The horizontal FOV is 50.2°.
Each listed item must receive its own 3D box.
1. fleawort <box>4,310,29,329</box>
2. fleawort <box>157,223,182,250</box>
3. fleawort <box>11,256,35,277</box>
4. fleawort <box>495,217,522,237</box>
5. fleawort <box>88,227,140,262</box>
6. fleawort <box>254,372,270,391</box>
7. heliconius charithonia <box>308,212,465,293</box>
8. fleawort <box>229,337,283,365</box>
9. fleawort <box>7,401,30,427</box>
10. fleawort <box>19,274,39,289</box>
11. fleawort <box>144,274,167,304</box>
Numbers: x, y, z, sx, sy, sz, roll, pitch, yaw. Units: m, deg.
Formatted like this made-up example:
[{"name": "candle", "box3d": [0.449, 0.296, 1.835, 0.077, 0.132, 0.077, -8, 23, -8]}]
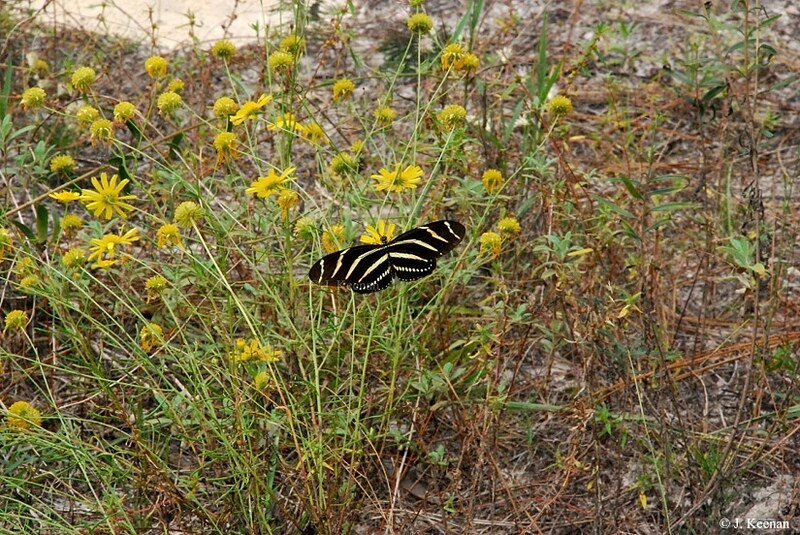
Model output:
[{"name": "fleawort", "box3d": [-1.741, 0.242, 3.895, 0.070, 0.065, 0.071, -22, 8, 39]}, {"name": "fleawort", "box3d": [-0.977, -0.129, 3.636, 0.088, 0.099, 0.180, -4, 15, -13]}, {"name": "fleawort", "box3d": [-1.664, -0.001, 3.801, 0.072, 0.078, 0.076, -2, -17, -7]}, {"name": "fleawort", "box3d": [0.483, -0.166, 3.818, 0.090, 0.078, 0.086, -8, 0, -43]}, {"name": "fleawort", "box3d": [-1.303, -0.101, 3.909, 0.125, 0.057, 0.131, -24, 21, 9]}, {"name": "fleawort", "box3d": [-0.580, 0.478, 3.612, 0.056, 0.077, 0.121, -4, 15, -13]}, {"name": "heliconius charithonia", "box3d": [-0.048, -0.031, 3.602, 0.660, 0.284, 0.096, -6, 15, -18]}, {"name": "fleawort", "box3d": [-0.632, 0.367, 3.691, 0.143, 0.064, 0.146, 0, 19, -9]}, {"name": "fleawort", "box3d": [-1.615, 0.633, 3.641, 0.092, 0.100, 0.096, -2, -2, 33]}, {"name": "fleawort", "box3d": [-1.634, 0.064, 3.788, 0.048, 0.036, 0.046, -17, 9, 33]}, {"name": "fleawort", "box3d": [-1.081, 0.082, 3.875, 0.126, 0.132, 0.140, 5, -19, -21]}]
